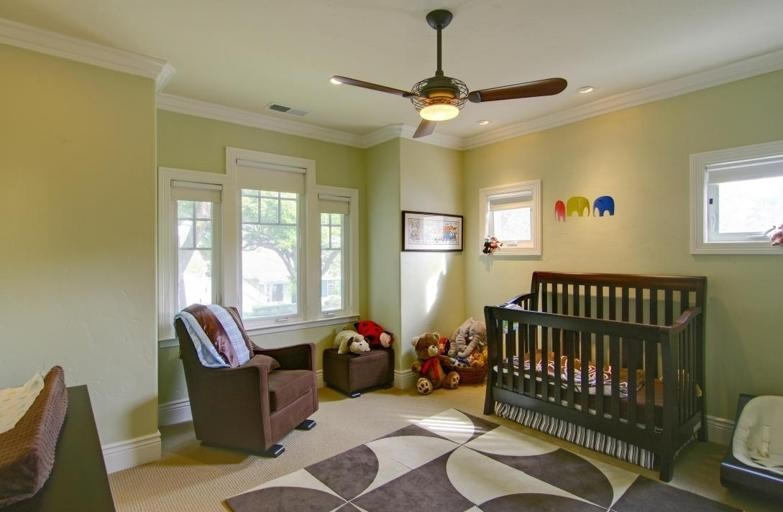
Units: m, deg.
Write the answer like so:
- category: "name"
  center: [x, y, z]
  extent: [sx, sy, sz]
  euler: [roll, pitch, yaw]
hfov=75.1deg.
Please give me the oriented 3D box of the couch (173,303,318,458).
- category: "couch"
  center: [-1.331, 1.122, 5.136]
  extent: [1.385, 1.520, 1.185]
  euler: [-4, -3, 20]

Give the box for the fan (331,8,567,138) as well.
- category: "fan"
  center: [0.459, -1.421, 4.014]
  extent: [1.603, 0.940, 0.723]
  euler: [0, 14, 2]

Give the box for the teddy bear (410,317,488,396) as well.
- category: "teddy bear"
  center: [0.662, 1.156, 5.928]
  extent: [0.969, 0.634, 0.489]
  euler: [-7, 15, -26]
